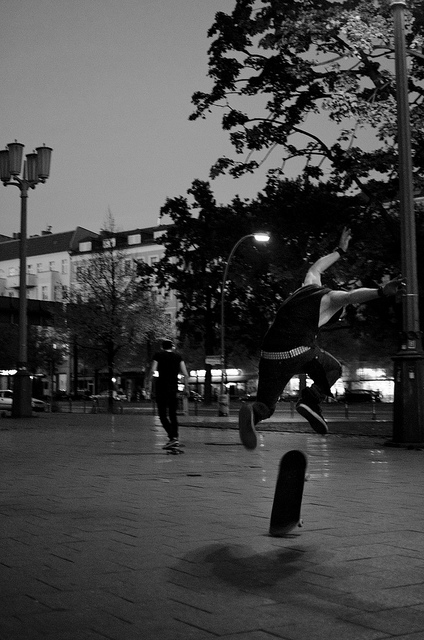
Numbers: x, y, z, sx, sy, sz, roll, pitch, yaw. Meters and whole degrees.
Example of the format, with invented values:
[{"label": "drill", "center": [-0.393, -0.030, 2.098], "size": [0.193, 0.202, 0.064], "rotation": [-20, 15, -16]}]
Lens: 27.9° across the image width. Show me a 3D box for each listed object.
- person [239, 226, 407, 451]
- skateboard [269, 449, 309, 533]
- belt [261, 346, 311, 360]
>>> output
[{"label": "person", "center": [0.664, 0.110, 5.117], "size": [0.601, 1.469, 0.449], "rotation": [18, -7, 39]}, {"label": "skateboard", "center": [0.494, 1.087, 5.428], "size": [0.171, 0.656, 0.097], "rotation": [3, 30, -2]}, {"label": "belt", "center": [0.416, 0.206, 5.065], "size": [0.319, 0.065, 0.117], "rotation": [-10, -4, 34]}]
